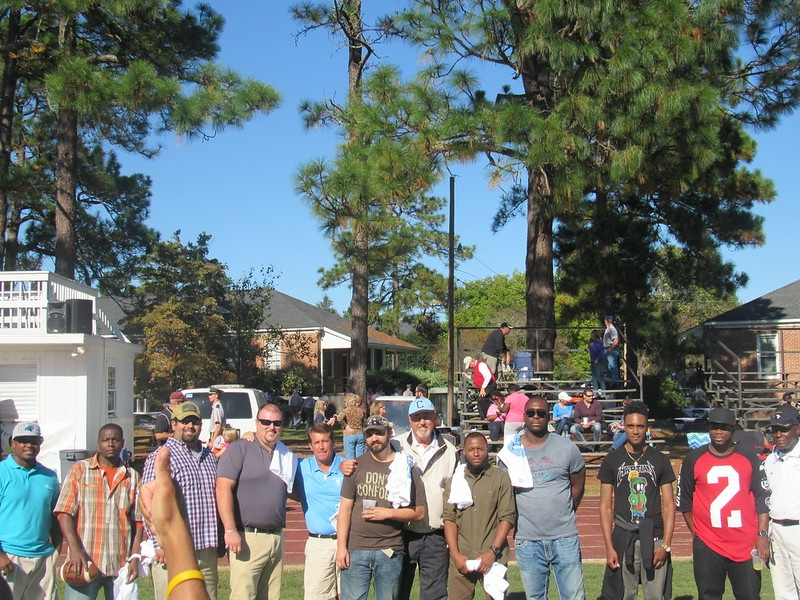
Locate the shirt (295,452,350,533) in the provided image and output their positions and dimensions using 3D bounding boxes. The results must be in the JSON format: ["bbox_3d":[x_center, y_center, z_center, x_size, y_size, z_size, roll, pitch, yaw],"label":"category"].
[{"bbox_3d":[-1.279,3.292,21.677,0.884,1.363,0.630,-2,-12,9],"label":"shirt"}]

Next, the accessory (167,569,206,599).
[{"bbox_3d":[-2.868,3.709,17.131,0.372,0.102,0.430,-15,-46,-7],"label":"accessory"}]

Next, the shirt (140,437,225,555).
[{"bbox_3d":[-3.296,3.048,19.698,0.561,1.629,1.624,-11,-13,35],"label":"shirt"}]

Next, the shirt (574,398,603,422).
[{"bbox_3d":[4.613,2.768,31.734,0.675,0.786,0.443,0,-5,9],"label":"shirt"}]

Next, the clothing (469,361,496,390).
[{"bbox_3d":[1.925,1.804,30.972,0.493,0.730,0.873,-23,-2,-4],"label":"clothing"}]

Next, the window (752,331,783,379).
[{"bbox_3d":[12.950,1.987,45.682,0.787,2.126,0.133,-1,-47,15],"label":"window"}]

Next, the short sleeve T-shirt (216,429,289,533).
[{"bbox_3d":[-2.291,3.088,21.430,1.397,1.584,0.819,9,-12,-36],"label":"short sleeve T-shirt"}]

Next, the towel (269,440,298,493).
[{"bbox_3d":[-1.911,2.719,21.291,0.199,0.701,0.660,-8,-39,35],"label":"towel"}]

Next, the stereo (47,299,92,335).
[{"bbox_3d":[-7.807,0.578,30.550,0.975,1.164,0.728,0,-5,-10],"label":"stereo"}]

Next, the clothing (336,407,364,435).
[{"bbox_3d":[-0.956,2.402,25.622,0.577,0.549,0.709,-8,-11,-4],"label":"clothing"}]

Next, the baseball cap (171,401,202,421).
[{"bbox_3d":[-3.627,1.878,21.797,0.455,0.406,0.709,3,-19,-13],"label":"baseball cap"}]

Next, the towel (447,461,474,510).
[{"bbox_3d":[0.965,3.023,20.987,0.322,0.669,0.207,-1,-19,1],"label":"towel"}]

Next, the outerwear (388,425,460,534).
[{"bbox_3d":[0.572,3.061,21.938,1.526,2.359,1.191,1,-11,1],"label":"outerwear"}]

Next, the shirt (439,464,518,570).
[{"bbox_3d":[1.280,3.508,21.302,1.031,1.691,0.550,0,13,9],"label":"shirt"}]

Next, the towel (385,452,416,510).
[{"bbox_3d":[-0.006,2.941,20.918,0.397,0.834,0.254,3,-5,-6],"label":"towel"}]
